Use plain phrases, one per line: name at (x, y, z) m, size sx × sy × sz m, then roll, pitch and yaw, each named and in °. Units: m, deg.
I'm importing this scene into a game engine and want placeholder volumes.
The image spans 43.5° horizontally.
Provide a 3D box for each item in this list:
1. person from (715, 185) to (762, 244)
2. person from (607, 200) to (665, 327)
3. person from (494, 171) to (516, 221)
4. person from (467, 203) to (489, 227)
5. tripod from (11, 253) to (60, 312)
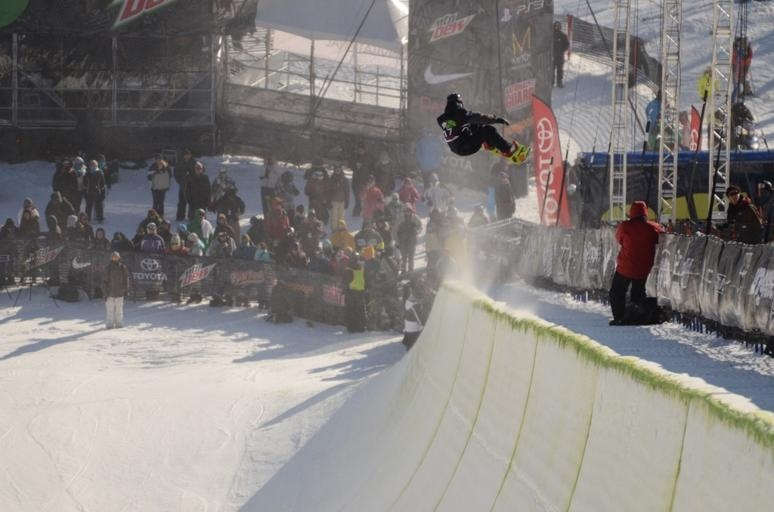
person at (7.944, -0.891, 21.571) m, size 0.773 × 1.205 × 1.536 m, roll 4°, pitch 2°, yaw 18°
person at (5.117, 0.188, 19.956) m, size 0.891 × 2.335 × 0.515 m, roll 4°, pitch 2°, yaw 14°
person at (3.700, -1.868, 30.277) m, size 0.614 × 1.240 × 1.968 m, roll 4°, pitch 2°, yaw 6°
person at (2.772, -1.176, 29.034) m, size 0.561 × 0.553 × 0.819 m, roll 4°, pitch 2°, yaw 2°
tripod at (-9.788, 0.725, 27.073) m, size 0.489 × 1.489 × 0.327 m, roll 23°, pitch 4°, yaw -2°
